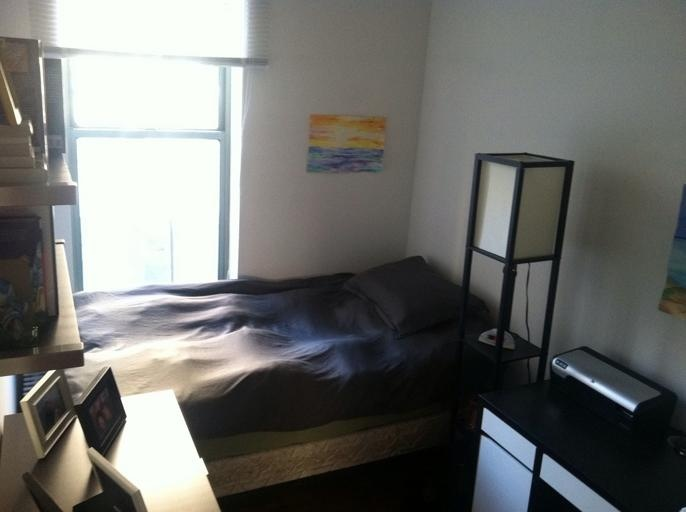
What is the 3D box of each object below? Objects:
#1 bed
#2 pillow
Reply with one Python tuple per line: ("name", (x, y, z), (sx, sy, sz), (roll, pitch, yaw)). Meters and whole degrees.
("bed", (-0.281, 0.567, 2.902), (1.932, 0.637, 1.190), (-4, 26, -26))
("pillow", (0.478, 0.243, 3.307), (0.505, 0.165, 0.547), (-15, 28, -22))
